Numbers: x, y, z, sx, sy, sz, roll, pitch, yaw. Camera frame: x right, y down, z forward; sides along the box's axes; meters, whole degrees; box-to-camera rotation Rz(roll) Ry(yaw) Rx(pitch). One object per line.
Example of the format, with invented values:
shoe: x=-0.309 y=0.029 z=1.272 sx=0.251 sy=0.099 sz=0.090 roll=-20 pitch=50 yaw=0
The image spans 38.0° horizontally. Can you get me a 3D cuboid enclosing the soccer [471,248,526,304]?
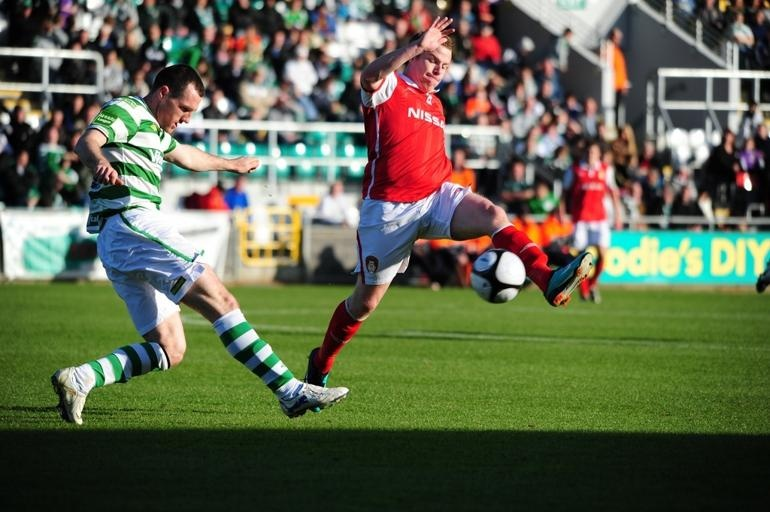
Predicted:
soccer: x=1.124 y=0.201 z=10.976 sx=0.498 sy=0.536 sz=0.520 roll=1 pitch=24 yaw=43

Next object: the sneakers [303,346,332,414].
sneakers: x=-0.713 y=1.257 z=11.370 sx=0.197 sy=0.625 sz=0.253 roll=-4 pitch=9 yaw=-18
